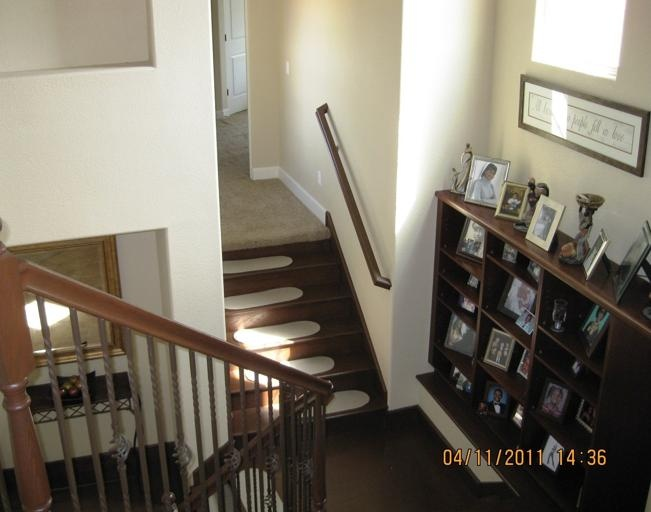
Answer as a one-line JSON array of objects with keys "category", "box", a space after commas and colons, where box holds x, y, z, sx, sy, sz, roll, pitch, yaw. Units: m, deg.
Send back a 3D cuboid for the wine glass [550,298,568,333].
[{"category": "wine glass", "box": [1.499, 0.380, 3.151, 0.095, 0.195, 0.089, 1, 20, 4]}]
